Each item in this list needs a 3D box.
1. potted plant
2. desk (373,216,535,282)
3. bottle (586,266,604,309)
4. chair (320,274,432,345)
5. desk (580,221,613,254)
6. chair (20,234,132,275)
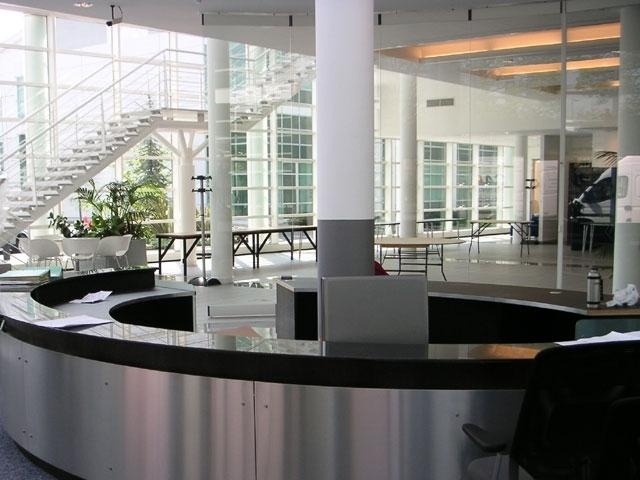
[{"bbox_3d":[-4.092,-0.204,10.737,1.639,1.716,1.906,1,4,42],"label":"potted plant"},{"bbox_3d":[1.779,0.097,8.115,2.003,0.819,0.791,-6,10,4],"label":"desk"},{"bbox_3d":[1.896,0.328,3.983,0.105,0.261,0.273,-3,11,25],"label":"bottle"},{"bbox_3d":[0.296,0.346,3.163,0.718,0.415,0.358,0,-1,1],"label":"chair"},{"bbox_3d":[3.597,-0.038,7.126,0.401,0.335,0.392,5,11,-31],"label":"desk"},{"bbox_3d":[-4.180,0.135,9.710,1.398,0.596,1.333,-3,6,-27],"label":"chair"}]
